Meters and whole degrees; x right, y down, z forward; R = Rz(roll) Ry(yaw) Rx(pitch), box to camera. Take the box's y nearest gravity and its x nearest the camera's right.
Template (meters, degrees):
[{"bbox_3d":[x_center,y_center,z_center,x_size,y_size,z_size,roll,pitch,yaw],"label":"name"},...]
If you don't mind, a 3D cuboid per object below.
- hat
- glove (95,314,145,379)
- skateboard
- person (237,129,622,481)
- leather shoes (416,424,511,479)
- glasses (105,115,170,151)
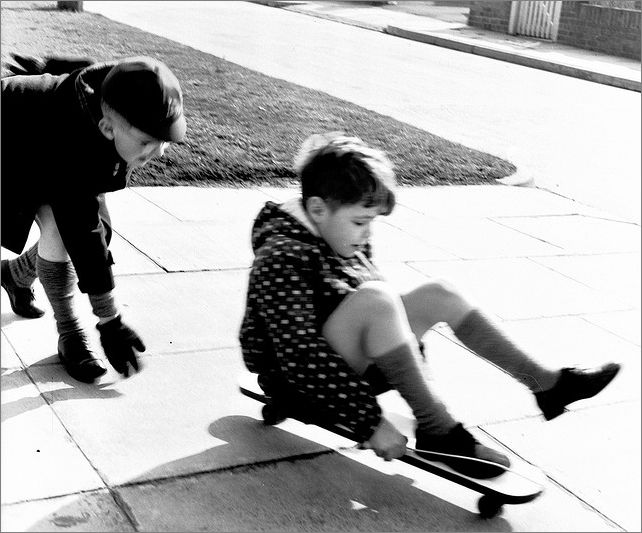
[{"bbox_3d":[-0.600,-0.540,2.288,0.306,0.157,0.227,42,52,1],"label":"hat"},{"bbox_3d":[-0.672,0.269,2.314,0.144,0.065,0.208,-29,83,-16],"label":"glove"},{"bbox_3d":[0.187,0.568,2.141,0.859,0.102,0.188,21,23,17],"label":"skateboard"},{"bbox_3d":[0.319,0.110,2.167,1.281,0.901,0.604,11,18,14],"label":"person"},{"bbox_3d":[0.411,0.532,2.072,0.330,0.121,0.114,14,15,10],"label":"leather shoes"},{"bbox_3d":[-0.589,-0.438,2.223,0.057,0.088,0.075,44,41,-4],"label":"glasses"}]
